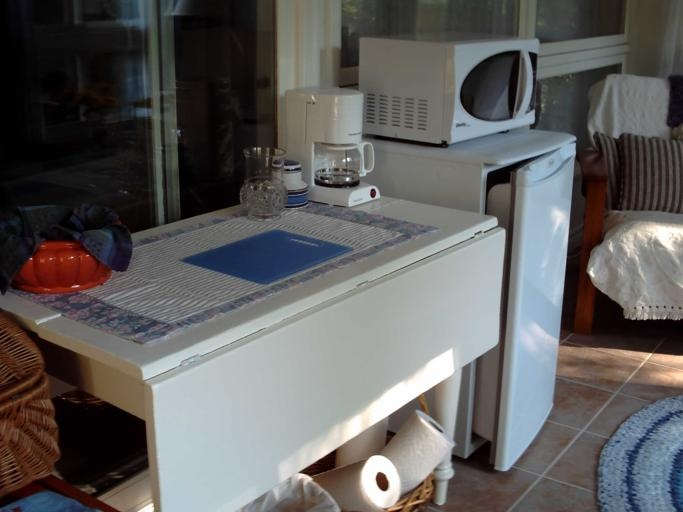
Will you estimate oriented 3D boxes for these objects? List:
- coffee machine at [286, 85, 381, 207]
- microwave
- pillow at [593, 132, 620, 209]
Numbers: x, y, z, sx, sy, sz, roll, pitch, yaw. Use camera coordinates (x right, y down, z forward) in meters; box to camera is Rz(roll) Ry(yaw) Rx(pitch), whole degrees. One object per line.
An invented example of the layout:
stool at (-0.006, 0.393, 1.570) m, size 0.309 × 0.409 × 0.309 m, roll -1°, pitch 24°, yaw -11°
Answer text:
coffee machine at (-0.026, -0.350, 1.719) m, size 0.239 × 0.330 × 0.299 m, roll -10°, pitch 22°, yaw -25°
microwave at (0.357, -0.676, 1.825) m, size 0.397 × 0.329 × 0.520 m, roll 16°, pitch 26°, yaw 36°
pillow at (1.469, -0.474, 3.035) m, size 0.286 × 0.369 × 0.103 m, roll -12°, pitch 8°, yaw -37°
